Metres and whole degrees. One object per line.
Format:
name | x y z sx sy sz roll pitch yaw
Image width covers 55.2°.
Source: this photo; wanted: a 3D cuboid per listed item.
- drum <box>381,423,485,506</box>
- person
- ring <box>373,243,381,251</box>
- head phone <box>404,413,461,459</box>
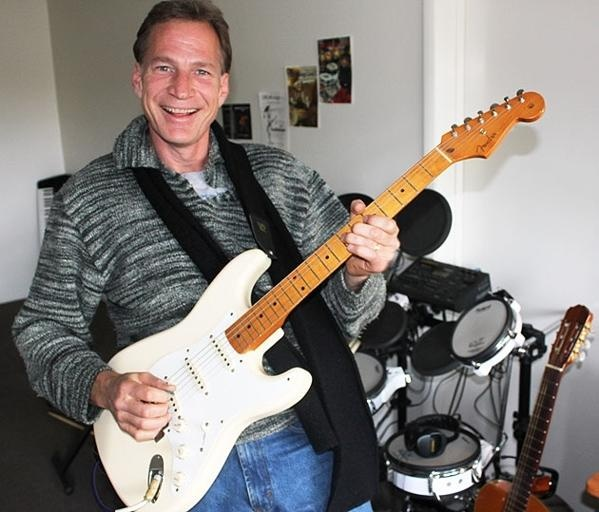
drum | 0.500 0.780 2.162 0.301 0.125 0.327 -6 20 2
person | -0.248 0.023 1.449 0.983 1.369 0.353 -3 -7 2
ring | 0.171 -0.019 1.273 0.014 0.017 0.003 -17 22 -27
head phone | 0.508 0.710 2.249 0.182 0.115 0.246 -10 -1 23
